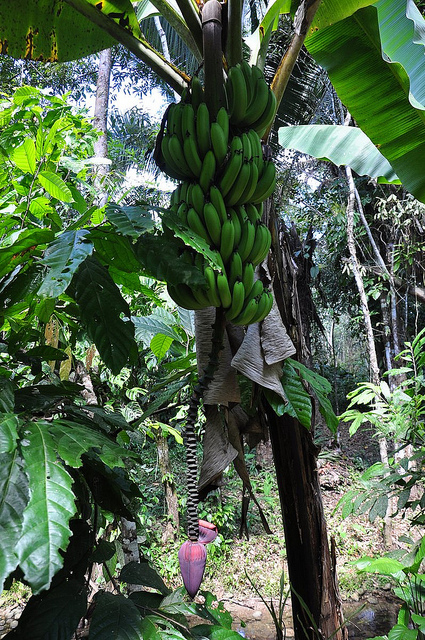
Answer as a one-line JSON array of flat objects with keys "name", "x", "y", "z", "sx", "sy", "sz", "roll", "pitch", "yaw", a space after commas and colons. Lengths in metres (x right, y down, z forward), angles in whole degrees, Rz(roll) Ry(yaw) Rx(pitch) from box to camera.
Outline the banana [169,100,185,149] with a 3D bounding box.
[{"name": "banana", "x": -0.079, "y": -0.465, "z": 1.030, "sx": 0.026, "sy": 0.129, "sz": 0.045, "roll": 3, "pitch": 6, "yaw": -3}]

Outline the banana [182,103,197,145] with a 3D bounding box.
[{"name": "banana", "x": -0.053, "y": -0.452, "z": 0.992, "sx": 0.022, "sy": 0.097, "sz": 0.034, "roll": -1, "pitch": -14, "yaw": -4}]

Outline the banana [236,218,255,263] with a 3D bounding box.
[{"name": "banana", "x": 0.081, "y": -0.186, "z": 0.998, "sx": 0.029, "sy": 0.112, "sz": 0.038, "roll": -5, "pitch": 16, "yaw": -34}]

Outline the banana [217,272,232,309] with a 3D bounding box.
[{"name": "banana", "x": 0.026, "y": -0.063, "z": 0.940, "sx": 0.022, "sy": 0.084, "sz": 0.030, "roll": -14, "pitch": 33, "yaw": 6}]

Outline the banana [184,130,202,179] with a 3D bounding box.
[{"name": "banana", "x": -0.046, "y": -0.376, "z": 0.987, "sx": 0.027, "sy": 0.109, "sz": 0.039, "roll": -14, "pitch": 23, "yaw": 4}]

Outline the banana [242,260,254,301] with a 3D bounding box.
[{"name": "banana", "x": 0.089, "y": -0.094, "z": 1.000, "sx": 0.020, "sy": 0.085, "sz": 0.030, "roll": 5, "pitch": -11, "yaw": -17}]

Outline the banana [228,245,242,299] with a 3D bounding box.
[{"name": "banana", "x": 0.051, "y": -0.110, "z": 0.992, "sx": 0.027, "sy": 0.117, "sz": 0.041, "roll": 2, "pitch": -8, "yaw": -6}]

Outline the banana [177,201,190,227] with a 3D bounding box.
[{"name": "banana", "x": -0.069, "y": -0.246, "z": 1.012, "sx": 0.016, "sy": 0.063, "sz": 0.022, "roll": -13, "pitch": -16, "yaw": 17}]

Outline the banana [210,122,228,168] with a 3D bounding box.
[{"name": "banana", "x": 0.017, "y": -0.392, "z": 0.968, "sx": 0.030, "sy": 0.093, "sz": 0.026, "roll": 22, "pitch": 52, "yaw": 41}]

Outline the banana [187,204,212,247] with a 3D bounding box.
[{"name": "banana", "x": -0.038, "y": -0.209, "z": 1.015, "sx": 0.027, "sy": 0.117, "sz": 0.046, "roll": -24, "pitch": 4, "yaw": 32}]

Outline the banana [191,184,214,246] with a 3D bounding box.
[{"name": "banana", "x": -0.013, "y": -0.241, "z": 0.991, "sx": 0.026, "sy": 0.136, "sz": 0.033, "roll": -18, "pitch": 8, "yaw": -32}]

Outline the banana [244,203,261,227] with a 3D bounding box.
[{"name": "banana", "x": 0.094, "y": -0.265, "z": 1.078, "sx": 0.022, "sy": 0.034, "sz": 0.083, "roll": -24, "pitch": 35, "yaw": 4}]

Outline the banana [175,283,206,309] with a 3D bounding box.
[{"name": "banana", "x": -0.054, "y": -0.053, "z": 1.003, "sx": 0.048, "sy": 0.062, "sz": 0.021, "roll": -36, "pitch": 23, "yaw": 29}]

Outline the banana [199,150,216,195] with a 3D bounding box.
[{"name": "banana", "x": -0.011, "y": -0.337, "z": 0.980, "sx": 0.024, "sy": 0.093, "sz": 0.030, "roll": 8, "pitch": 26, "yaw": 9}]

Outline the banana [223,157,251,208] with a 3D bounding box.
[{"name": "banana", "x": 0.056, "y": -0.304, "z": 0.998, "sx": 0.032, "sy": 0.134, "sz": 0.047, "roll": -17, "pitch": 51, "yaw": -34}]

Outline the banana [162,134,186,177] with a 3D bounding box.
[{"name": "banana", "x": -0.094, "y": -0.396, "z": 1.050, "sx": 0.035, "sy": 0.106, "sz": 0.028, "roll": -30, "pitch": 27, "yaw": -7}]

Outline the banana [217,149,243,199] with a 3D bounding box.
[{"name": "banana", "x": 0.033, "y": -0.322, "z": 0.978, "sx": 0.026, "sy": 0.033, "sz": 0.127, "roll": 0, "pitch": -37, "yaw": -22}]

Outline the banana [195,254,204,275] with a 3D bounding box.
[{"name": "banana", "x": -0.028, "y": -0.124, "z": 0.966, "sx": 0.011, "sy": 0.044, "sz": 0.015, "roll": -7, "pitch": -1, "yaw": 9}]

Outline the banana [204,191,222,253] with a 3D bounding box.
[{"name": "banana", "x": 0.003, "y": -0.217, "z": 0.970, "sx": 0.028, "sy": 0.122, "sz": 0.043, "roll": -11, "pitch": 7, "yaw": 6}]

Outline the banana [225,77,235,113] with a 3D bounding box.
[{"name": "banana", "x": 0.043, "y": -0.525, "z": 1.001, "sx": 0.021, "sy": 0.084, "sz": 0.017, "roll": -7, "pitch": 1, "yaw": -22}]

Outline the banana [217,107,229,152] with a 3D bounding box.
[{"name": "banana", "x": 0.025, "y": -0.437, "z": 0.976, "sx": 0.022, "sy": 0.081, "sz": 0.026, "roll": -7, "pitch": 1, "yaw": -18}]

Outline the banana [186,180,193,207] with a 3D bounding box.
[{"name": "banana", "x": -0.053, "y": -0.296, "z": 1.008, "sx": 0.019, "sy": 0.055, "sz": 0.013, "roll": 12, "pitch": -14, "yaw": -16}]

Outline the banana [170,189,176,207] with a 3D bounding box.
[{"name": "banana", "x": -0.101, "y": -0.305, "z": 1.085, "sx": 0.011, "sy": 0.047, "sz": 0.015, "roll": 5, "pitch": 23, "yaw": -4}]

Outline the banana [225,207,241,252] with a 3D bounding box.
[{"name": "banana", "x": 0.056, "y": -0.212, "z": 1.010, "sx": 0.026, "sy": 0.101, "sz": 0.036, "roll": 0, "pitch": 12, "yaw": 39}]

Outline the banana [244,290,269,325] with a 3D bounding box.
[{"name": "banana", "x": 0.100, "y": -0.019, "z": 1.050, "sx": 0.025, "sy": 0.124, "sz": 0.044, "roll": 6, "pitch": 44, "yaw": -11}]

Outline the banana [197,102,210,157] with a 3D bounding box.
[{"name": "banana", "x": -0.014, "y": -0.432, "z": 0.988, "sx": 0.028, "sy": 0.120, "sz": 0.040, "roll": 0, "pitch": 5, "yaw": 5}]

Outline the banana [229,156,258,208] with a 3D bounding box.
[{"name": "banana", "x": 0.076, "y": -0.309, "z": 1.009, "sx": 0.035, "sy": 0.051, "sz": 0.141, "roll": -1, "pitch": -35, "yaw": -20}]

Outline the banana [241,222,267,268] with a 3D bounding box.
[{"name": "banana", "x": 0.099, "y": -0.181, "z": 1.023, "sx": 0.026, "sy": 0.117, "sz": 0.044, "roll": 9, "pitch": 16, "yaw": -30}]

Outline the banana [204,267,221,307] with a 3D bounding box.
[{"name": "banana", "x": 0.008, "y": -0.068, "z": 0.966, "sx": 0.024, "sy": 0.093, "sz": 0.032, "roll": -16, "pitch": 25, "yaw": -6}]

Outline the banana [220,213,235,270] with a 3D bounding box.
[{"name": "banana", "x": 0.030, "y": -0.176, "z": 0.990, "sx": 0.023, "sy": 0.115, "sz": 0.041, "roll": 1, "pitch": 1, "yaw": -1}]

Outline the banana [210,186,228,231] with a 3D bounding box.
[{"name": "banana", "x": 0.018, "y": -0.253, "z": 1.004, "sx": 0.027, "sy": 0.107, "sz": 0.037, "roll": -23, "pitch": 13, "yaw": -34}]

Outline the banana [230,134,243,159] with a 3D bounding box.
[{"name": "banana", "x": 0.053, "y": -0.391, "z": 0.958, "sx": 0.019, "sy": 0.061, "sz": 0.021, "roll": 7, "pitch": -18, "yaw": -2}]

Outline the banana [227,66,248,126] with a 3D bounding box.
[{"name": "banana", "x": 0.058, "y": -0.514, "z": 1.006, "sx": 0.047, "sy": 0.132, "sz": 0.038, "roll": -10, "pitch": 24, "yaw": -28}]

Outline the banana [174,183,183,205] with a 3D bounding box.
[{"name": "banana", "x": -0.085, "y": -0.307, "z": 1.056, "sx": 0.014, "sy": 0.062, "sz": 0.022, "roll": 7, "pitch": -3, "yaw": 25}]

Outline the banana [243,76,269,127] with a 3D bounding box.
[{"name": "banana", "x": 0.103, "y": -0.518, "z": 1.091, "sx": 0.033, "sy": 0.054, "sz": 0.166, "roll": -34, "pitch": -26, "yaw": -22}]
